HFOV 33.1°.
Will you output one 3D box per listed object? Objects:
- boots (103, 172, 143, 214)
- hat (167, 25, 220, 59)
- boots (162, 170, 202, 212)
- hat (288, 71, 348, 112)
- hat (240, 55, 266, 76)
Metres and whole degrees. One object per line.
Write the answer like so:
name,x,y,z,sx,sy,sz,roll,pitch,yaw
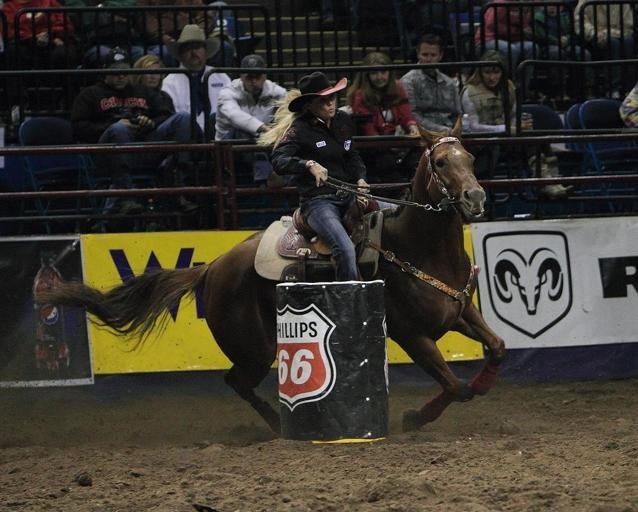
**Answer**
boots,-2.110,-0.667,11.474,0.387,0.458,0.187,1,-2,-7
hat,-1.565,-2.701,13.503,0.548,0.217,0.598,-2,-16,-6
boots,-1.503,-0.737,11.713,0.381,0.458,0.146,6,7,2
hat,-0.017,-1.529,9.968,0.558,0.359,0.308,-4,15,-5
hat,-0.756,-2.202,12.237,0.254,0.168,0.348,1,17,0
